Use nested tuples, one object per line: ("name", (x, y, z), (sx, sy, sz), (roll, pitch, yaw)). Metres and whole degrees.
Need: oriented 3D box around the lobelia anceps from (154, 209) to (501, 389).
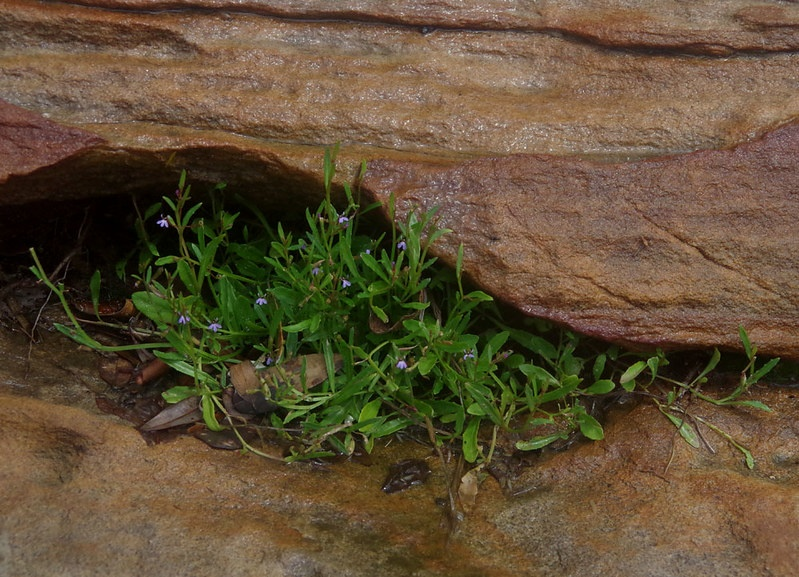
("lobelia anceps", (-0.340, -0.001, 3.591), (1.413, 0.776, 0.863), (8, 38, 3))
